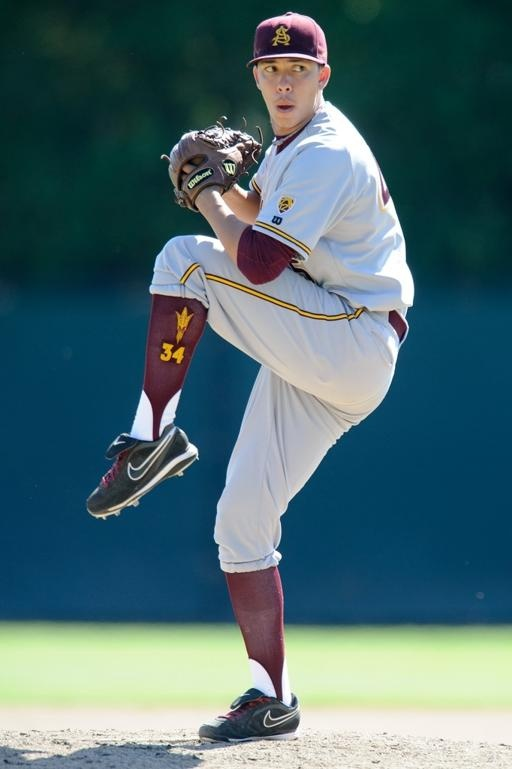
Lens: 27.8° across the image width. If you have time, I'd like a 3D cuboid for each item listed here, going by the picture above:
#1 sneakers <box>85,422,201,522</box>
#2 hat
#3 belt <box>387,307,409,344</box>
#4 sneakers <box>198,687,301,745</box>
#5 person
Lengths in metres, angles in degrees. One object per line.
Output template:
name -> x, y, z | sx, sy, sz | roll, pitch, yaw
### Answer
sneakers -> -0.353, 0.265, 3.074 | 0.198, 0.385, 0.126 | 51, 3, -40
hat -> 0.089, -0.864, 2.606 | 0.134, 0.092, 0.168 | 5, 12, 16
belt -> 0.380, -0.147, 2.659 | 0.026, 0.079, 0.058 | -19, 32, 24
sneakers -> -0.008, 0.844, 2.661 | 0.300, 0.120, 0.094 | 2, -12, -22
person -> 0.010, -0.025, 2.645 | 0.710, 1.833, 0.452 | -3, -2, 24
